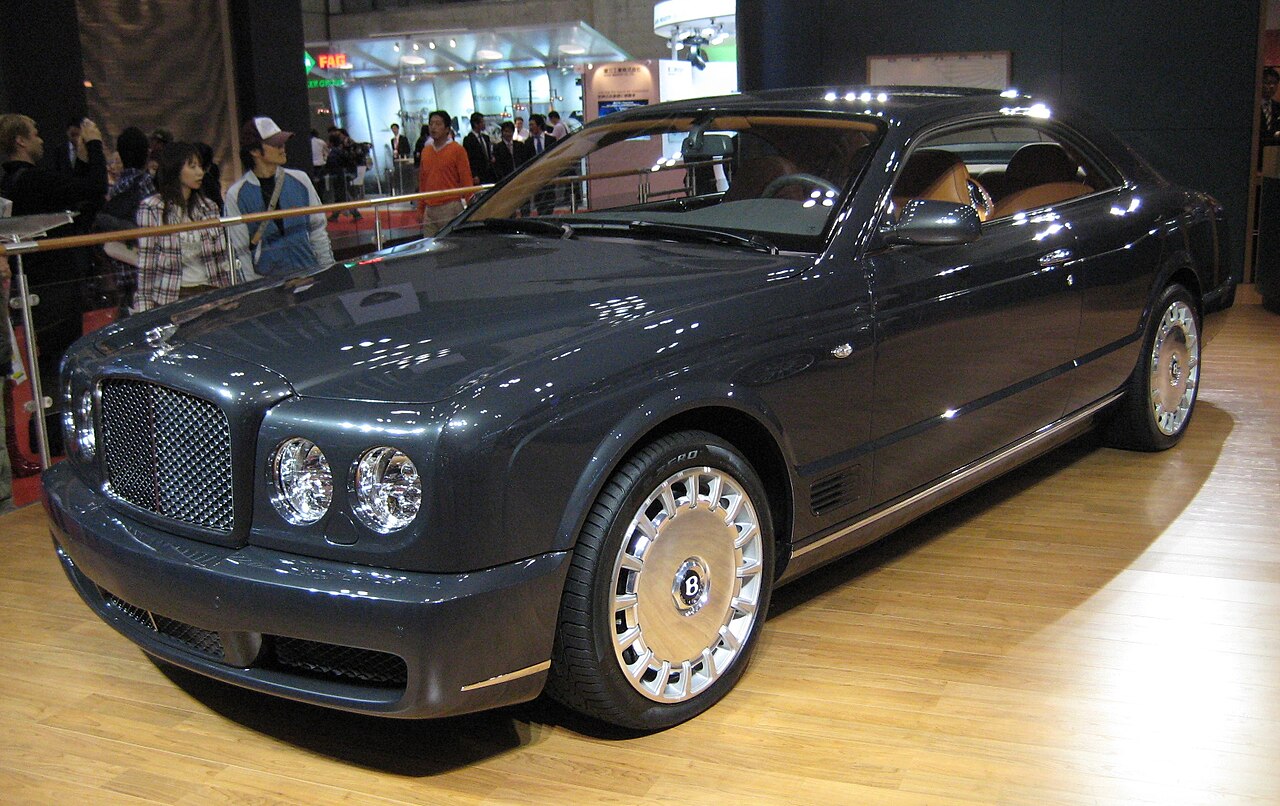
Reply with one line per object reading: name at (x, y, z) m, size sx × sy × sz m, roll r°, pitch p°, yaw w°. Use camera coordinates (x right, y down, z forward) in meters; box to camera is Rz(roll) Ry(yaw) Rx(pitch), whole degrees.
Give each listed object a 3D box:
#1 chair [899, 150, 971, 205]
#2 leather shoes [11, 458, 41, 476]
chair at (1.332, -1.021, 3.754) m, size 0.283 × 0.145 × 0.409 m, roll 7°, pitch 15°, yaw 35°
leather shoes at (-3.587, 0.370, 4.831) m, size 0.097 × 0.099 × 0.215 m, roll -13°, pitch 19°, yaw -27°
